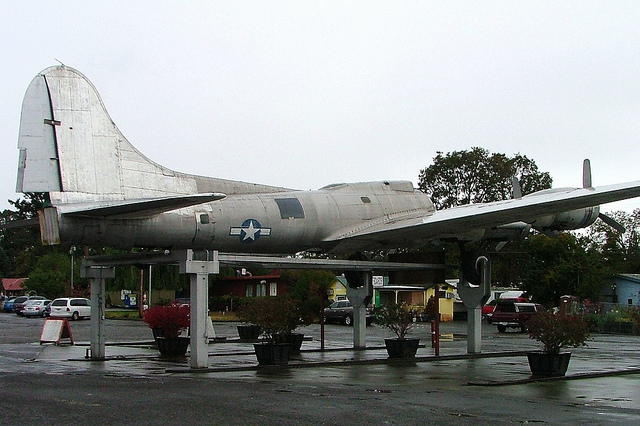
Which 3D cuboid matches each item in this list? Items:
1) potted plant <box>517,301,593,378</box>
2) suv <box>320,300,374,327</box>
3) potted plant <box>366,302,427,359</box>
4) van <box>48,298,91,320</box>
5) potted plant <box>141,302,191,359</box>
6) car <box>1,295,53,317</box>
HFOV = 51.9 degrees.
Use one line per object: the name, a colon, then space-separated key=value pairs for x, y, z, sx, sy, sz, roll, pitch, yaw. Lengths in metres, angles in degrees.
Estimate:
potted plant: x=7.708 y=4.367 z=21.910 sx=1.978 sy=2.242 sz=1.729 roll=6 pitch=-10 yaw=12
suv: x=2.030 y=7.242 z=47.428 sx=2.044 sy=1.747 sz=5.605 roll=4 pitch=-8 yaw=-30
potted plant: x=3.176 y=4.722 z=26.525 sx=2.130 sy=2.719 sz=2.475 roll=2 pitch=-9 yaw=-7
van: x=-18.968 y=7.361 z=50.262 sx=2.640 sy=1.642 sz=1.630 roll=3 pitch=-8 yaw=-25
potted plant: x=-6.114 y=4.741 z=26.711 sx=1.627 sy=2.000 sz=3.107 roll=3 pitch=-7 yaw=-22
car: x=-25.559 y=8.242 z=58.010 sx=2.080 sy=1.597 sz=7.918 roll=4 pitch=-8 yaw=-29
